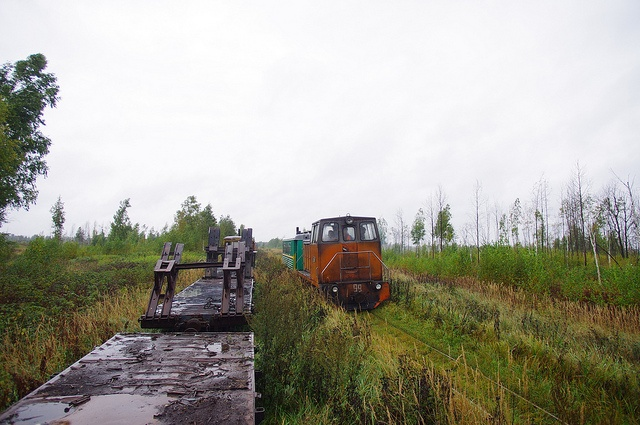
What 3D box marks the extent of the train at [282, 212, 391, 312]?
[{"bbox_3d":[0.610,1.791,16.783,2.663,3.845,5.554,0,6,-20],"label":"train"}]
